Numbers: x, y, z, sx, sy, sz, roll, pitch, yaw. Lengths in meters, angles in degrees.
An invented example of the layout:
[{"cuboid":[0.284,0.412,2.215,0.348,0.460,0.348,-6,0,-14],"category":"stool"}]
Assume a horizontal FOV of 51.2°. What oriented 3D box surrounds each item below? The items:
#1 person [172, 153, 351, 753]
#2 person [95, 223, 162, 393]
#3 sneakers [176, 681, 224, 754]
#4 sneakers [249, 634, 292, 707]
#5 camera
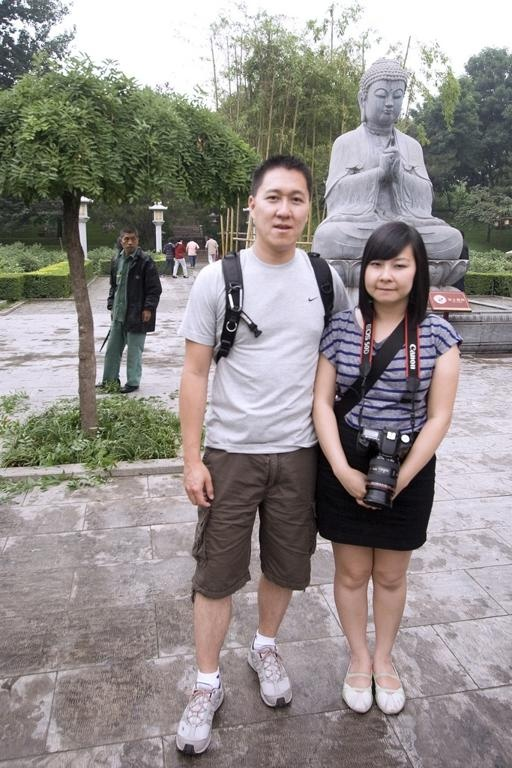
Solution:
[{"cuboid":[-0.026,0.158,1.491,0.573,1.530,0.311,-6,12,-37],"category":"person"},{"cuboid":[-1.331,-0.749,5.542,0.623,1.594,0.765,-2,10,-15],"category":"person"},{"cuboid":[-0.155,0.867,1.403,0.057,0.067,0.163,6,12,9],"category":"sneakers"},{"cuboid":[0.051,0.849,1.586,0.063,0.082,0.186,-1,7,-9],"category":"sneakers"},{"cuboid":[0.316,0.196,1.313,0.134,0.194,0.088,9,-24,19],"category":"camera"}]
